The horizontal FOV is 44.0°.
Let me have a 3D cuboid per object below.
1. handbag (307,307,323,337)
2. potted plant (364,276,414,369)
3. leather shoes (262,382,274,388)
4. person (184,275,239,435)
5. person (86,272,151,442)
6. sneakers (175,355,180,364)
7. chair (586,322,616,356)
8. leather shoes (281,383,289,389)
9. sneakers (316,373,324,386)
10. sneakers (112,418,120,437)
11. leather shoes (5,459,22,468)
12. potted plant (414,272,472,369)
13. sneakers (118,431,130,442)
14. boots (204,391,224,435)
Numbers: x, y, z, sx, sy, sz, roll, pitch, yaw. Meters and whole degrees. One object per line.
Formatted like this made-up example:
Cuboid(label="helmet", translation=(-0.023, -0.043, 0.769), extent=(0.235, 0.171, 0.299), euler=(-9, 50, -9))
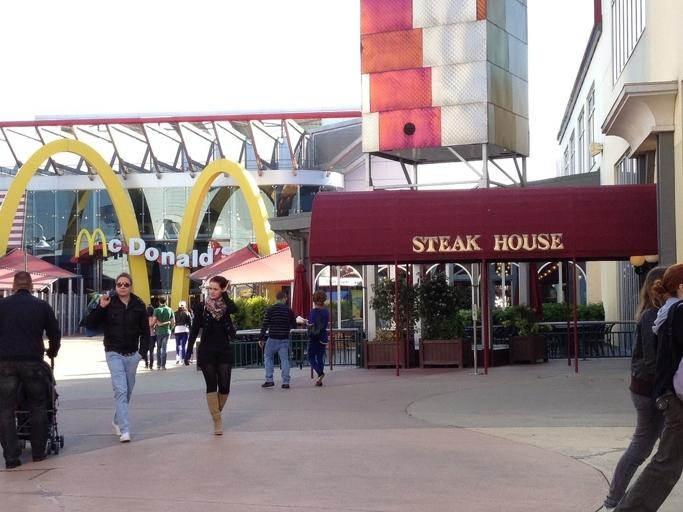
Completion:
Cuboid(label="handbag", translation=(-0.580, 1.508, 18.901), extent=(0.312, 0.659, 0.421), euler=(-2, -4, -2))
Cuboid(label="potted plant", translation=(1.410, 1.881, 23.253), extent=(1.092, 2.661, 1.413), euler=(9, -12, -11))
Cuboid(label="leather shoes", translation=(-1.659, 2.903, 19.077), extent=(0.292, 0.146, 0.108), euler=(2, 3, 24))
Cuboid(label="person", translation=(-2.030, 1.593, 13.757), extent=(0.599, 2.534, 0.809), euler=(1, -5, -43))
Cuboid(label="person", translation=(-3.437, 1.581, 13.137), extent=(0.884, 2.587, 0.536), euler=(-1, -4, -15))
Cuboid(label="sneakers", translation=(-5.225, 3.359, 27.207), extent=(0.154, 0.254, 0.086), euler=(1, -12, -5))
Cuboid(label="chair", translation=(7.876, 2.389, 25.529), extent=(0.712, 1.064, 0.754), euler=(2, 17, 1))
Cuboid(label="leather shoes", translation=(-1.244, 2.919, 18.871), extent=(0.148, 0.119, 0.080), euler=(2, -2, 8))
Cuboid(label="sneakers", translation=(-0.476, 2.843, 19.050), extent=(0.122, 0.360, 0.111), euler=(4, 9, -11))
Cuboid(label="sneakers", translation=(-3.571, 2.770, 13.451), extent=(0.155, 0.224, 0.451), euler=(2, 1, -10))
Cuboid(label="leather shoes", translation=(-4.443, 2.828, 11.506), extent=(0.243, 0.119, 0.238), euler=(0, -6, -37))
Cuboid(label="potted plant", translation=(2.567, 1.779, 22.840), extent=(2.156, 2.547, 2.358), euler=(-7, -11, 10))
Cuboid(label="sneakers", translation=(-3.315, 2.786, 12.966), extent=(0.171, 0.148, 0.252), euler=(-2, -5, -15))
Cuboid(label="boots", translation=(-2.009, 2.514, 13.488), extent=(0.224, 0.656, 0.392), euler=(-2, -4, -9))
